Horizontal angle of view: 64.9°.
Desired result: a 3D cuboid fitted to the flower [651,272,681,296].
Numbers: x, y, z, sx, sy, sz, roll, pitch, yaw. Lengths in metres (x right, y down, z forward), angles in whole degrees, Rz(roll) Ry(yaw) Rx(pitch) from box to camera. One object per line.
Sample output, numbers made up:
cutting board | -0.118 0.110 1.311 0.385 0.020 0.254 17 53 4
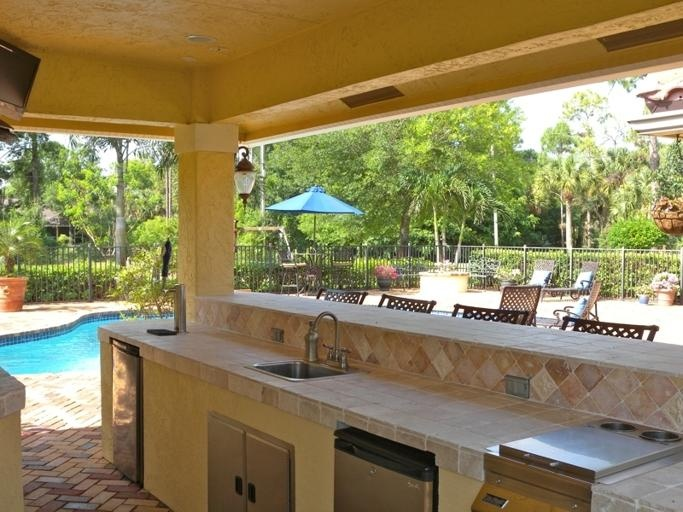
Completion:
flower | 9.199 0.734 15.244 0.788 0.559 0.778 -3 5 14

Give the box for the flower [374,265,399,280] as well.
flower | 1.437 0.549 17.794 0.519 0.357 0.549 1 -1 -2

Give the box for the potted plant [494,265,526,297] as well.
potted plant | 4.582 0.678 14.773 0.892 0.926 0.697 0 -2 -6

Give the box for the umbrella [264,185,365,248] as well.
umbrella | -0.746 -1.481 15.855 2.305 1.237 2.263 -1 5 -8

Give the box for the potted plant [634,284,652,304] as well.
potted plant | 8.784 1.112 15.530 0.558 0.580 0.570 0 -4 0

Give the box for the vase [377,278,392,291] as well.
vase | 1.418 0.935 17.636 0.410 0.325 0.417 0 -1 -4

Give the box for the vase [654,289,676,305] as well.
vase | 9.131 1.149 15.062 0.509 0.443 0.559 -1 5 18
